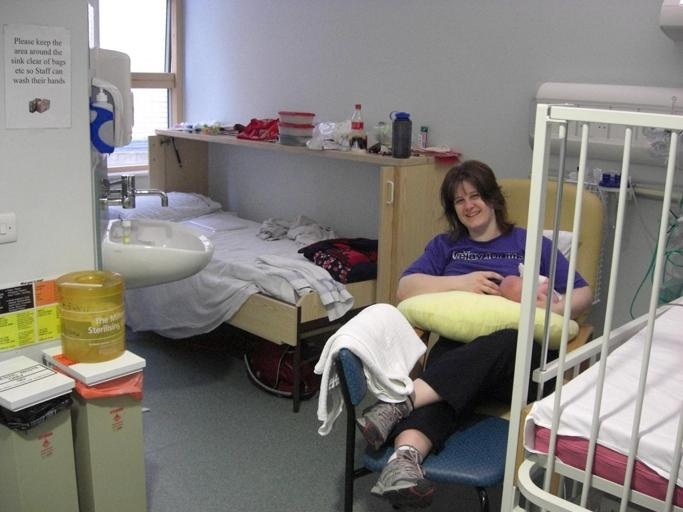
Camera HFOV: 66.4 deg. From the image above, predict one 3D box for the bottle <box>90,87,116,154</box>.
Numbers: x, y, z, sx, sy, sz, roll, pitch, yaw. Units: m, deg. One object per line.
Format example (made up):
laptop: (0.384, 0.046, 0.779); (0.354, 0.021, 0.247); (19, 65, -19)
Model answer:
bottle: (-0.986, -0.549, 2.115); (0.113, 0.261, 0.126); (-11, 17, -37)

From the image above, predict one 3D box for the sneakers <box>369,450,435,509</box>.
sneakers: (0.177, 0.750, 1.788); (0.111, 0.155, 0.290); (31, -23, -7)

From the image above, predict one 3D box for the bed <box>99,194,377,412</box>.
bed: (-0.746, 0.162, 3.432); (1.766, 0.874, 1.090); (24, 32, 38)

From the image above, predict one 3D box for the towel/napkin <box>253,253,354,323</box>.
towel/napkin: (-0.277, 0.105, 2.906); (0.321, 0.147, 0.456); (-14, 26, -40)

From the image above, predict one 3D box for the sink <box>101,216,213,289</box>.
sink: (-0.888, -0.025, 2.455); (0.336, 0.199, 0.513); (-1, 16, -25)

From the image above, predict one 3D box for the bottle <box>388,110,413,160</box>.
bottle: (0.345, -0.706, 3.036); (0.109, 0.256, 0.277); (1, 14, 4)
